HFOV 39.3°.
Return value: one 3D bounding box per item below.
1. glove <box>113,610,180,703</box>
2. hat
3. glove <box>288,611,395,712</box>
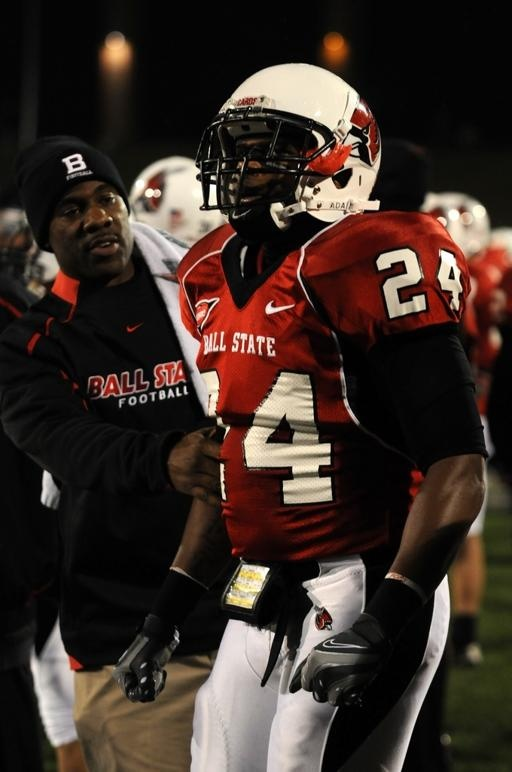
[{"bbox_3d":[-0.178,0.458,1.246,0.068,0.090,0.156,1,45,42],"label":"glove"},{"bbox_3d":[-0.463,-0.478,1.802,0.294,0.245,0.224,-2,8,43],"label":"hat"},{"bbox_3d":[0.100,0.314,0.808,0.060,0.120,0.085,43,9,-11],"label":"glove"}]
